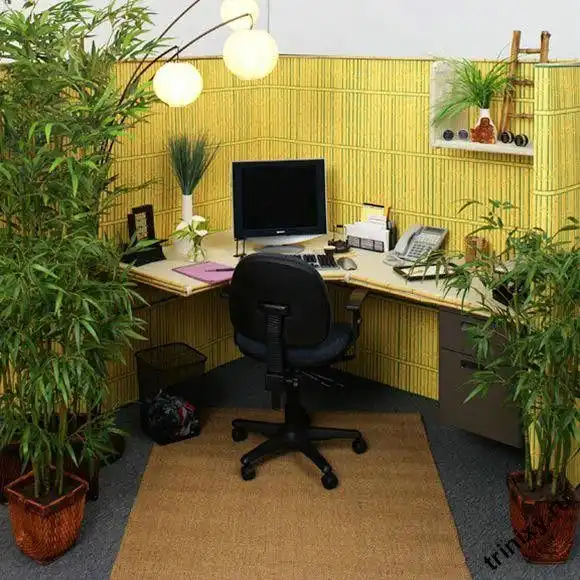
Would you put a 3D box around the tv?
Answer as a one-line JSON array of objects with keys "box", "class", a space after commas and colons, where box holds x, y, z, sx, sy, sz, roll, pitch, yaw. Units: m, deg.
[{"box": [-0.067, -0.513, 3.064, 0.667, 0.565, 0.211, -2, 4, -9], "class": "tv"}]

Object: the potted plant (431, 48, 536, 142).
[{"box": [0.995, -0.985, 2.707, 0.492, 0.409, 0.498, 13, 35, 29], "class": "potted plant"}]

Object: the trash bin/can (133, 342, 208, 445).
[{"box": [-0.677, 0.593, 2.865, 0.399, 0.469, 0.371, -8, 20, -36], "class": "trash bin/can"}]

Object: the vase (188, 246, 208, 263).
[{"box": [-0.512, -0.197, 2.838, 0.091, 0.080, 0.090, 1, 6, 21], "class": "vase"}]

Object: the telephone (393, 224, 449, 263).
[{"box": [0.742, -0.272, 2.878, 0.242, 0.099, 0.314, 18, 46, 40], "class": "telephone"}]

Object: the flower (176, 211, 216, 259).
[{"box": [-0.481, -0.325, 2.888, 0.279, 0.258, 0.235, -2, 14, -6], "class": "flower"}]

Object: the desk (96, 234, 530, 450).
[{"box": [0.139, 0.218, 3.325, 1.775, 0.609, 1.066, 6, 14, 20], "class": "desk"}]

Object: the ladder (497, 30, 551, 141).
[{"box": [1.132, -1.014, 2.477, 0.199, 0.507, 0.398, 5, 14, 22], "class": "ladder"}]
